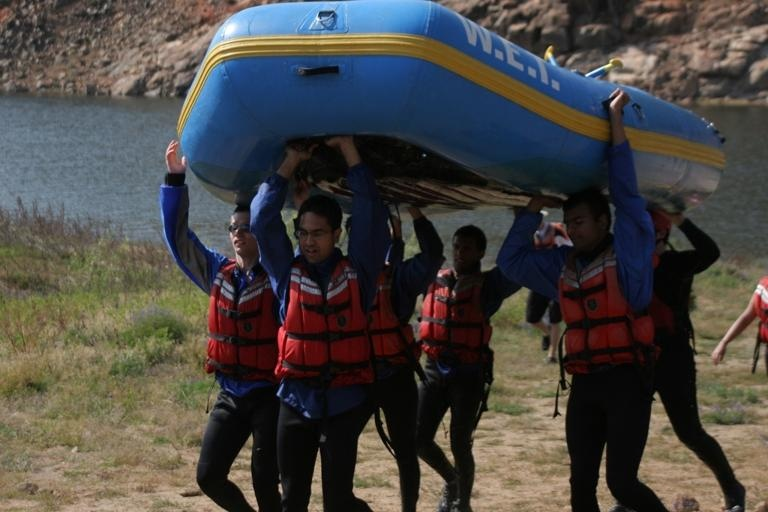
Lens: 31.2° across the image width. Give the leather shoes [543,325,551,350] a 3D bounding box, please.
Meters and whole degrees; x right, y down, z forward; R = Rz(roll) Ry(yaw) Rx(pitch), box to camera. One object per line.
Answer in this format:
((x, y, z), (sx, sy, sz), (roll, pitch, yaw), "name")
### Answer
((4.418, 2.200, 37.150), (0.212, 0.699, 0.292), (6, 8, 8), "leather shoes")
